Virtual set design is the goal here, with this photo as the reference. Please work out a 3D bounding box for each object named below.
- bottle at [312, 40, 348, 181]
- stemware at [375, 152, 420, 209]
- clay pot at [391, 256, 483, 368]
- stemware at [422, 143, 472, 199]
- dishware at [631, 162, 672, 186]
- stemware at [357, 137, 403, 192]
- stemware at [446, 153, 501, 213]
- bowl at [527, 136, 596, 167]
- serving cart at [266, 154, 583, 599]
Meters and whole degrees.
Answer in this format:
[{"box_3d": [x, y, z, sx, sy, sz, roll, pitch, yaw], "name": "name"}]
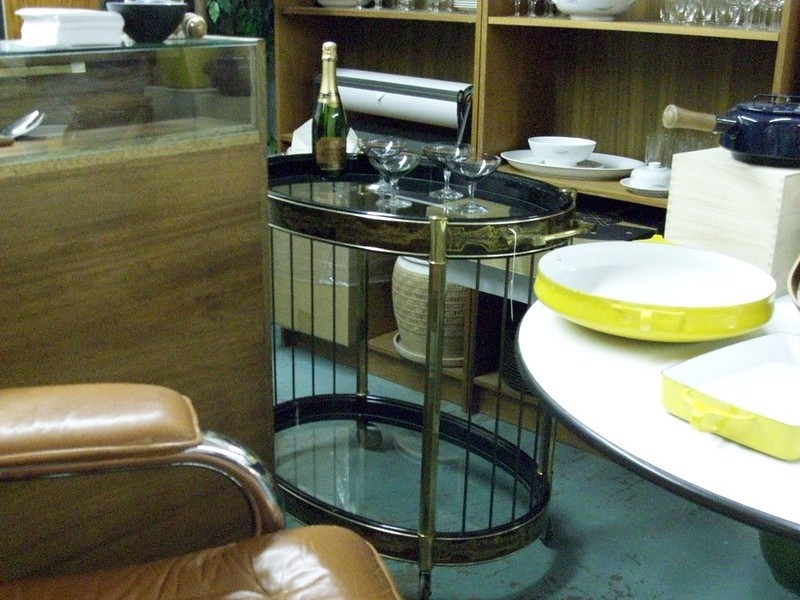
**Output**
[{"box_3d": [-0.201, -0.537, 1.858, 0.097, 0.262, 0.228, -5, 3, -5], "name": "bottle"}, {"box_3d": [-0.015, -0.297, 1.682, 0.134, 0.133, 0.137, 4, 9, -5], "name": "stemware"}, {"box_3d": [0.064, 0.030, 2.494, 0.354, 0.401, 0.353, 3, 22, -1], "name": "clay pot"}, {"box_3d": [0.110, -0.327, 1.646, 0.130, 0.124, 0.133, -1, 24, -1], "name": "stemware"}, {"box_3d": [0.743, -0.373, 2.003, 0.091, 0.039, 0.093, 24, 34, 36], "name": "dishware"}, {"box_3d": [-0.049, -0.347, 1.718, 0.134, 0.149, 0.131, 4, 23, 5], "name": "stemware"}, {"box_3d": [0.175, -0.280, 1.637, 0.149, 0.118, 0.151, 6, 2, 45], "name": "stemware"}, {"box_3d": [0.515, -0.481, 2.158, 0.140, 0.057, 0.143, 1, 26, 0], "name": "bowl"}, {"box_3d": [0.086, 0.199, 1.710, 0.569, 0.786, 0.965, -15, 27, -34], "name": "serving cart"}]
